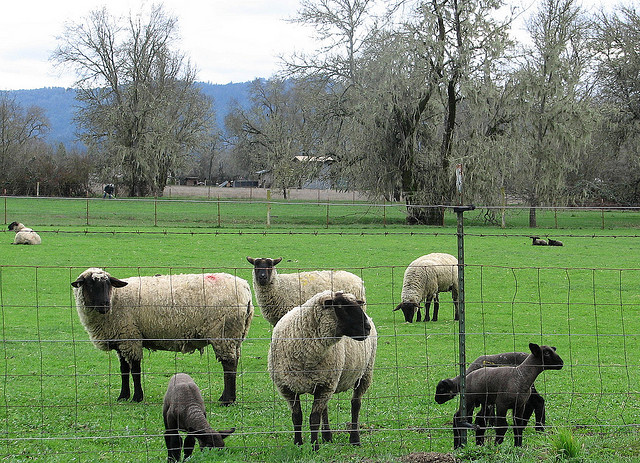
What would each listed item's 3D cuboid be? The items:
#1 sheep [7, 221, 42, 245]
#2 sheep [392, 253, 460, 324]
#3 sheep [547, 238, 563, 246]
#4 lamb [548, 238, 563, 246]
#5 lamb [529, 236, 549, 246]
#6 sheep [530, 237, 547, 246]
[{"bbox_3d":[-15.434,0.124,51.824,0.776,0.824,1.757,-4,18,-45],"label":"sheep"},{"bbox_3d":[4.228,2.243,39.607,2.018,2.606,2.444,-1,1,15],"label":"sheep"},{"bbox_3d":[12.778,0.636,54.773,0.768,0.313,0.619,-1,1,35],"label":"sheep"},{"bbox_3d":[12.728,0.647,54.774,0.295,0.441,0.788,5,-3,-40],"label":"lamb"},{"bbox_3d":[12.021,0.605,55.131,0.769,0.386,0.632,4,3,30],"label":"lamb"},{"bbox_3d":[11.937,0.596,55.197,0.931,0.478,0.543,5,4,21],"label":"sheep"}]
